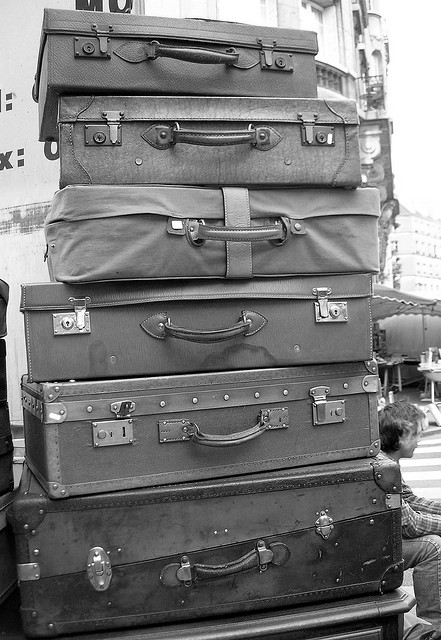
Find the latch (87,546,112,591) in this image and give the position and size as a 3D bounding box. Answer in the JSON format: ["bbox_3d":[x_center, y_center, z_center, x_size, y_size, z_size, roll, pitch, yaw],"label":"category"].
[{"bbox_3d":[-0.324,0.661,1.871,0.063,0.112,0.018,-5,4,-13],"label":"latch"}]

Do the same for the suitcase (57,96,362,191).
[{"bbox_3d":[-0.147,-0.527,2.319,0.916,0.297,0.798,-6,13,-25],"label":"suitcase"}]

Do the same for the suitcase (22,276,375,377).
[{"bbox_3d":[-0.023,0.019,2.022,1.027,0.298,0.187,-5,4,-26],"label":"suitcase"}]

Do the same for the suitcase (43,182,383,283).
[{"bbox_3d":[0.008,-0.249,2.032,0.975,0.294,0.232,-5,4,-23],"label":"suitcase"}]

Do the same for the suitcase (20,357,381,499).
[{"bbox_3d":[-0.111,0.229,2.190,1.077,0.345,0.718,-4,10,-17],"label":"suitcase"}]

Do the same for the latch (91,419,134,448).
[{"bbox_3d":[-0.300,0.304,1.903,0.080,0.051,0.016,-1,-1,-21],"label":"latch"}]

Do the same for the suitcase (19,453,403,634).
[{"bbox_3d":[-0.010,0.631,1.960,0.621,0.236,0.590,0,-9,-8],"label":"suitcase"}]

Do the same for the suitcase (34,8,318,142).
[{"bbox_3d":[-0.189,-0.705,2.178,0.790,0.374,0.581,-11,18,-34],"label":"suitcase"}]

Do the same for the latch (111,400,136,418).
[{"bbox_3d":[-0.272,0.240,1.916,0.046,0.040,0.015,4,7,-20],"label":"latch"}]

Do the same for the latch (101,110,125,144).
[{"bbox_3d":[-0.295,-0.537,1.939,0.061,0.096,0.023,-4,4,-11],"label":"latch"}]
